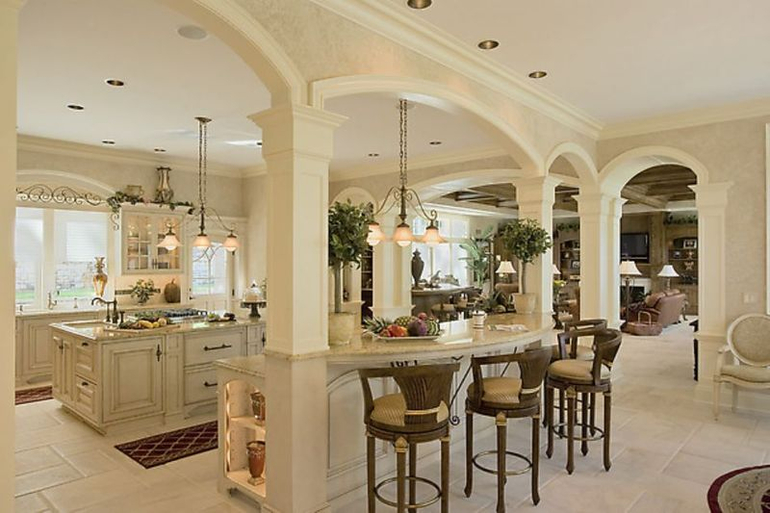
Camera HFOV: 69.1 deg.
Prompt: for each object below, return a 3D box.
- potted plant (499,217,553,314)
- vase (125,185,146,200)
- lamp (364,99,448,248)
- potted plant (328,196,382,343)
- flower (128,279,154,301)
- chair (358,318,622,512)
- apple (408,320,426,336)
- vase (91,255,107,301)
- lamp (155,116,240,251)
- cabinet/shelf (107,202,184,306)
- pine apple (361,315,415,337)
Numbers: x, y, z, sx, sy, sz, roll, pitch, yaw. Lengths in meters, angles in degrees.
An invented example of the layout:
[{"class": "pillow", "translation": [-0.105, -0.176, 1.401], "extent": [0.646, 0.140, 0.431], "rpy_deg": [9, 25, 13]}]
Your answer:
[{"class": "potted plant", "translation": [1.841, -0.005, 7.207], "extent": [0.575, 1.012, 0.573], "rpy_deg": [-1, 1, 18]}, {"class": "vase", "translation": [-4.183, -1.095, 9.482], "extent": [0.135, 0.277, 0.309], "rpy_deg": [0, 1, 42]}, {"class": "lamp", "translation": [0.287, -1.243, 8.133], "extent": [1.470, 2.140, 1.354], "rpy_deg": [3, -4, -27]}, {"class": "potted plant", "translation": [-0.331, 0.130, 5.725], "extent": [0.432, 1.410, 0.958], "rpy_deg": [-1, 1, -2]}, {"class": "flower", "translation": [-4.183, 0.577, 9.788], "extent": [0.400, 0.304, 0.393], "rpy_deg": [0, -6, 28]}, {"class": "chair", "translation": [1.000, 1.603, 5.505], "extent": [1.987, 0.841, 0.577], "rpy_deg": [-1, 3, -35]}, {"class": "apple", "translation": [0.329, 0.713, 5.556], "extent": [0.170, 0.145, 0.150], "rpy_deg": [2, -5, -4]}, {"class": "vase", "translation": [-4.815, 0.354, 9.514], "extent": [0.234, 0.715, 0.560], "rpy_deg": [-2, 1, -27]}, {"class": "lamp", "translation": [-2.977, -1.205, 9.319], "extent": [1.668, 2.144, 1.539], "rpy_deg": [5, 7, 33]}, {"class": "cabinet/shelf", "translation": [-4.009, -0.021, 9.779], "extent": [1.207, 1.708, 0.479], "rpy_deg": [-2, 2, -28]}, {"class": "pine apple", "translation": [0.028, 0.694, 5.550], "extent": [0.449, 0.167, 0.196], "rpy_deg": [0, -16, 10]}]
